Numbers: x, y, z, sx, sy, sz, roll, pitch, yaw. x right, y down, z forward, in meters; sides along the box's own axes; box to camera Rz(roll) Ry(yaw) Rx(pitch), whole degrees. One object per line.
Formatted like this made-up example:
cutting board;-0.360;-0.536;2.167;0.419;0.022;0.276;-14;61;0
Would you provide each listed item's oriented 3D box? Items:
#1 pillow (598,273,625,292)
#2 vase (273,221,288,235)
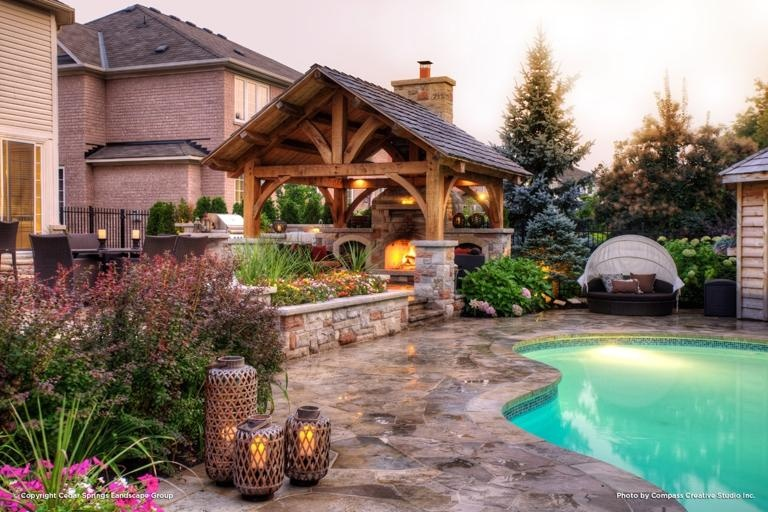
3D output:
pillow;6.407;0.728;15.559;0.546;0.469;0.155;3;-19;-26
vase;-3.545;-0.979;18.648;0.464;0.380;0.445;-1;-2;2
